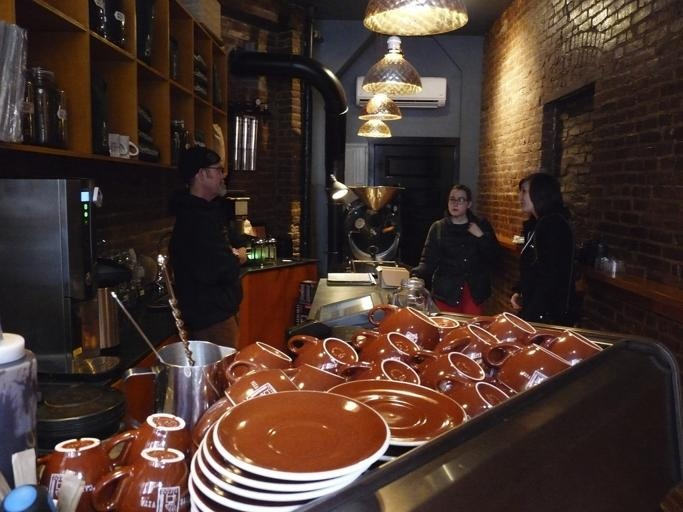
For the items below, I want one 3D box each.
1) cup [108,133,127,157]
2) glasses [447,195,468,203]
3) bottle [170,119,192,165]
[{"bbox_3d":[-1.045,-0.513,2.377,0.070,0.122,0.129,3,8,8],"label":"cup"},{"bbox_3d":[0.954,-0.461,4.168,0.157,0.064,0.081,5,12,17],"label":"glasses"},{"bbox_3d":[-1.089,-0.733,3.312,0.146,0.248,0.174,25,29,15],"label":"bottle"}]
